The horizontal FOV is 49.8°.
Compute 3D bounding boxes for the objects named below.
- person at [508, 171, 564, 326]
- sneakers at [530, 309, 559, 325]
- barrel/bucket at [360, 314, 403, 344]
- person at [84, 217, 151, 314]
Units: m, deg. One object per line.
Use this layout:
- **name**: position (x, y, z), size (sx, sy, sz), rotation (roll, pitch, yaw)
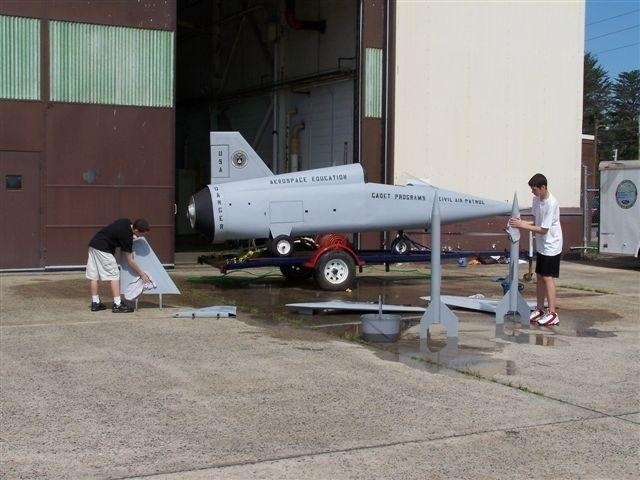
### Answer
- **person**: position (3.124, 0.155, 9.813), size (0.544, 2.157, 1.022), rotation (2, 7, 22)
- **sneakers**: position (3.185, 1.125, 9.863), size (0.506, 0.180, 0.214), rotation (2, -19, -35)
- **barrel/bucket**: position (0.738, 1.121, 8.814), size (0.383, 0.226, 0.368), rotation (-1, -5, 0)
- **person**: position (-3.027, 0.396, 10.447), size (1.070, 1.412, 0.481), rotation (3, 7, 23)
